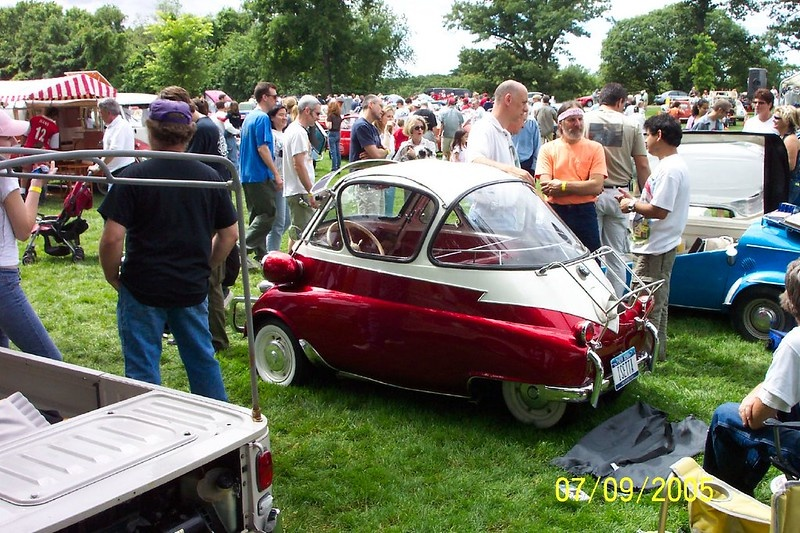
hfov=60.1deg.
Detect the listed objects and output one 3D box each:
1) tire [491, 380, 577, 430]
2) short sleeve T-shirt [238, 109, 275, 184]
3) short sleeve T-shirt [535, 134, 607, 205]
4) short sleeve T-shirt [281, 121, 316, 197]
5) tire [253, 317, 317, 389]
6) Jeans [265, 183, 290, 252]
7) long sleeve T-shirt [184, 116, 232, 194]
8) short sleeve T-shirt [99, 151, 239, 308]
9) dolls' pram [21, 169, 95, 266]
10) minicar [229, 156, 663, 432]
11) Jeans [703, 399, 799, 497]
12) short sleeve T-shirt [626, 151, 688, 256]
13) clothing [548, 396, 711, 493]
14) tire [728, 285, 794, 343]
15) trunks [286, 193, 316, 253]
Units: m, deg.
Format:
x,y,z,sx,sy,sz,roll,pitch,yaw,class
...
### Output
x,y,z,sx,sy,sz,roll,pitch,yaw,class
1.207,1.222,6.084,0.399,0.429,0.149,11,14,24,tire
-2.053,-1.730,9.941,0.507,1.028,0.831,-1,2,-22,short sleeve T-shirt
1.889,-1.052,7.566,0.901,0.905,0.485,-1,-1,21,short sleeve T-shirt
-1.461,-1.577,9.869,0.478,0.956,0.762,-11,19,-23,short sleeve T-shirt
-1.191,0.880,6.993,0.707,0.760,0.258,-1,6,37,tire
-1.788,-0.650,10.379,0.250,1.116,0.302,-23,-32,28,Jeans
-2.231,-1.312,8.046,0.524,0.864,0.651,7,22,9,long sleeve T-shirt
-1.747,-0.292,5.263,1.037,1.086,0.539,-1,5,-40,short sleeve T-shirt
-5.356,-0.740,10.786,1.014,1.254,0.698,-5,14,-28,dolls' pram
0.462,0.002,6.924,3.646,1.950,2.159,6,10,24,minicar
2.480,1.269,4.862,0.263,0.761,0.639,-4,13,-34,Jeans
2.838,-0.712,7.626,0.548,1.048,1.030,6,11,17,short sleeve T-shirt
2.028,1.528,5.880,1.438,0.318,0.760,-6,14,-41,clothing
3.903,0.496,7.456,0.552,0.582,0.217,28,24,37,tire
-1.334,-0.549,9.751,0.240,0.364,0.811,-6,53,-3,trunks
